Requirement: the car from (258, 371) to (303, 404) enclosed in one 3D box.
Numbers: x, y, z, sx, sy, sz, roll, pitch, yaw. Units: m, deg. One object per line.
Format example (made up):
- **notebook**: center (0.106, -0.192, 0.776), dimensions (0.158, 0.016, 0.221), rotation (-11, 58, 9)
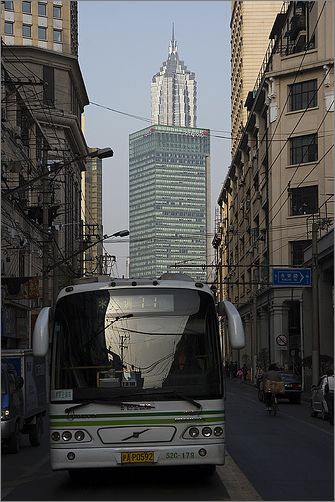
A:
- **car**: center (5.378, 6.498, 34.205), dimensions (1.265, 1.510, 2.781), rotation (0, -1, -7)
